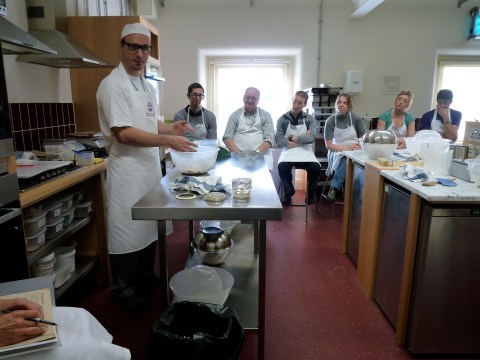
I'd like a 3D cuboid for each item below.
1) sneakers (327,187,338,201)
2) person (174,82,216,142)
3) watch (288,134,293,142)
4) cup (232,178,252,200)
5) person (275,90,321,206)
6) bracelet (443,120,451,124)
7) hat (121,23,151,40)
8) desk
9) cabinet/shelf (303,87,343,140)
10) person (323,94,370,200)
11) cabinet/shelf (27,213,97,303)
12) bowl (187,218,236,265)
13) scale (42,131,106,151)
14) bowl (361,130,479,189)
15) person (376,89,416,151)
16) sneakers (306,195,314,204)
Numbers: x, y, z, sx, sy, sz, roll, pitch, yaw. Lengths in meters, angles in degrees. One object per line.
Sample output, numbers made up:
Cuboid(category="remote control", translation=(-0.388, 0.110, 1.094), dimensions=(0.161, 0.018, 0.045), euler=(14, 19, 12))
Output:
Cuboid(category="sneakers", translation=(1.192, 0.170, 4.459), dimensions=(0.089, 0.119, 0.272), euler=(16, 11, 7))
Cuboid(category="person", translation=(-0.560, -0.777, 4.403), dimensions=(0.526, 0.865, 0.507), euler=(-5, 12, -22))
Cuboid(category="watch", translation=(0.678, -0.563, 4.664), dimensions=(0.062, 0.069, 0.066), euler=(1, 9, 4))
Cuboid(category="cup", translation=(0.013, 0.041, 1.997), dimensions=(0.113, 0.121, 0.121), euler=(2, -1, 0))
Cuboid(category="person", translation=(0.763, -0.287, 4.690), dimensions=(0.654, 1.325, 0.500), euler=(6, 15, 21))
Cuboid(category="bracelet", translation=(2.731, -0.761, 4.586), dimensions=(0.052, 0.041, 0.059), euler=(-3, 4, -27))
Cuboid(category="hat", translation=(-0.718, -1.006, 2.435), dimensions=(0.143, 0.095, 0.148), euler=(-1, 18, -6))
Cuboid(category="desk", translation=(-0.114, 0.304, 2.365), dimensions=(0.604, 0.881, 1.387), euler=(0, 6, 2))
Cuboid(category="cabinet/shelf", translation=(1.302, -0.999, 5.262), dimensions=(0.654, 1.000, 0.704), euler=(-1, 11, 1))
Cuboid(category="person", translation=(1.345, -0.466, 4.530), dimensions=(0.528, 1.272, 0.742), euler=(5, 15, 17))
Cuboid(category="cabinet/shelf", translation=(-1.282, 0.560, 2.624), dimensions=(0.466, 0.306, 0.486), euler=(-1, 12, 1))
Cuboid(category="bowl", translation=(-0.195, 0.440, 2.556), dimensions=(0.281, 0.262, 0.288), euler=(0, 4, 0))
Cuboid(category="scale", translation=(-1.405, -0.349, 3.049), dimensions=(0.313, 0.102, 0.349), euler=(1, 8, 7))
Cuboid(category="bowl", translation=(1.378, -0.156, 2.581), dimensions=(0.409, 0.287, 0.656), euler=(3, 8, 3))
Cuboid(category="person", translation=(2.074, -0.787, 4.560), dimensions=(0.467, 0.790, 0.507), euler=(11, 2, 17))
Cuboid(category="sneakers", translation=(0.948, 0.269, 4.642), dimensions=(0.134, 0.157, 0.063), euler=(-3, -34, 13))
